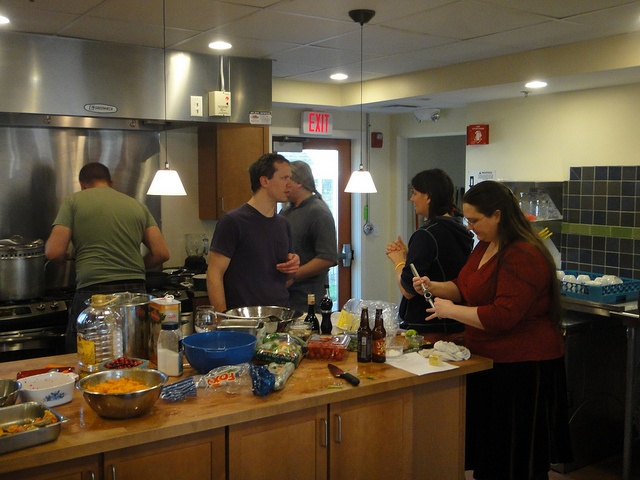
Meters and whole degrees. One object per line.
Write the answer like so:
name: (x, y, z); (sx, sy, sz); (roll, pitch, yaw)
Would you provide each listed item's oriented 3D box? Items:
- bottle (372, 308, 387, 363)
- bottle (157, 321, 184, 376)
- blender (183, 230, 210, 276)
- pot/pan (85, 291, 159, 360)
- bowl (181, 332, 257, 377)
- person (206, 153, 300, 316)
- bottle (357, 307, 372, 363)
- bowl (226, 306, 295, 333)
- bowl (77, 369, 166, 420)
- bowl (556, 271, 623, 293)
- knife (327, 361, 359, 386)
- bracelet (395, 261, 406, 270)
bottle: (0.292, 0.464, 2.596); (0.064, 0.275, 0.173); (0, 6, 8)
bottle: (-0.684, 0.493, 2.388); (0.112, 0.251, 0.098); (-2, 6, -17)
blender: (-1.137, 0.123, 4.852); (0.235, 0.334, 0.510); (-2, 6, -12)
pot/pan: (-0.951, 0.416, 2.506); (0.372, 0.345, 0.276); (-3, 6, -24)
bowl: (-0.465, 0.544, 2.489); (0.345, 0.145, 0.389); (0, 4, -1)
person: (-0.412, -0.048, 3.167); (0.542, 0.928, 0.233); (-2, 6, -18)
bottle: (0.218, 0.461, 2.594); (0.070, 0.277, 0.123); (-1, 6, 0)
bowl: (-0.331, 0.433, 2.820); (0.329, 0.101, 0.364); (3, 7, 28)
bowl: (-0.816, 0.618, 2.119); (0.310, 0.115, 0.313); (-9, -36, -7)
bowl: (2.060, 0.305, 4.087); (0.376, 0.075, 0.479); (-4, 7, -31)
knife: (0.099, 0.615, 2.405); (0.047, 0.035, 0.192); (2, 3, -26)
bracelet: (0.499, 0.170, 3.304); (0.046, 0.010, 0.047); (-33, -13, 38)
